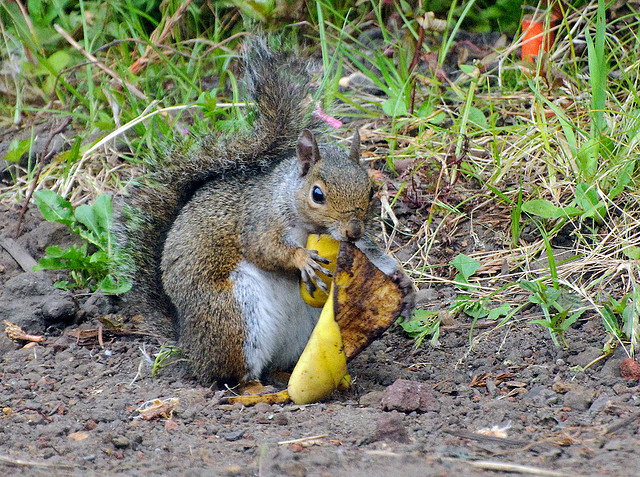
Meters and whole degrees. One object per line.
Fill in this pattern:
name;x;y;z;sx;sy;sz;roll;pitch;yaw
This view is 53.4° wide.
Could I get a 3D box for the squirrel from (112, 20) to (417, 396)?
squirrel;-0.209;-0.123;4.613;1.602;2.668;2.258;-5;21;-17
